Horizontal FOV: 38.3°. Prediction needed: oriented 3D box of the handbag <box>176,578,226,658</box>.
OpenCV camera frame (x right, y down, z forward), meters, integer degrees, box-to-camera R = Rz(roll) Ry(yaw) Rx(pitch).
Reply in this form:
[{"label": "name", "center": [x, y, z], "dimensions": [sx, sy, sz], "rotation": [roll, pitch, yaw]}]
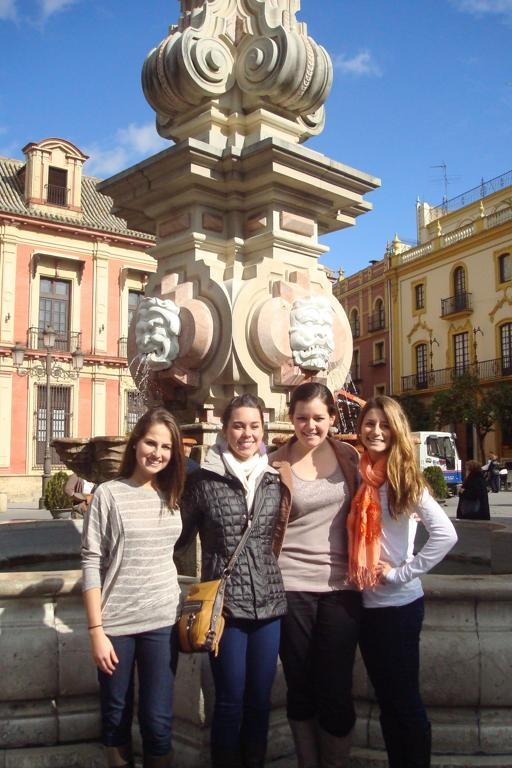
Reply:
[{"label": "handbag", "center": [-0.197, 0.811, 2.554], "dimensions": [0.156, 0.257, 0.169], "rotation": [-2, -3, 22]}]
